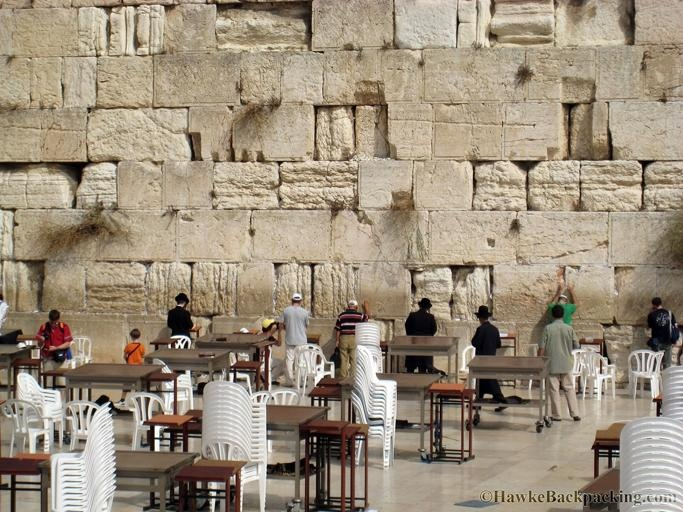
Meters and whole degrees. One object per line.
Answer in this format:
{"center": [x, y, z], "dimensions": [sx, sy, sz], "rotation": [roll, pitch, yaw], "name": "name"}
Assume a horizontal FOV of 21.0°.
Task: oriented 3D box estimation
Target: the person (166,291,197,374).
{"center": [-3.427, 1.261, 37.644], "dimensions": [0.396, 1.153, 0.354], "rotation": [-4, 4, -9], "name": "person"}

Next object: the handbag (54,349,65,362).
{"center": [-5.429, 1.842, 34.748], "dimensions": [0.172, 0.234, 0.219], "rotation": [-2, -5, -17], "name": "handbag"}

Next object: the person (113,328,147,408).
{"center": [-4.108, 2.058, 34.963], "dimensions": [0.517, 1.468, 0.499], "rotation": [6, -8, -15], "name": "person"}

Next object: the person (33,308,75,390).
{"center": [-5.600, 1.855, 34.875], "dimensions": [0.720, 1.649, 0.625], "rotation": [1, 0, -2], "name": "person"}
